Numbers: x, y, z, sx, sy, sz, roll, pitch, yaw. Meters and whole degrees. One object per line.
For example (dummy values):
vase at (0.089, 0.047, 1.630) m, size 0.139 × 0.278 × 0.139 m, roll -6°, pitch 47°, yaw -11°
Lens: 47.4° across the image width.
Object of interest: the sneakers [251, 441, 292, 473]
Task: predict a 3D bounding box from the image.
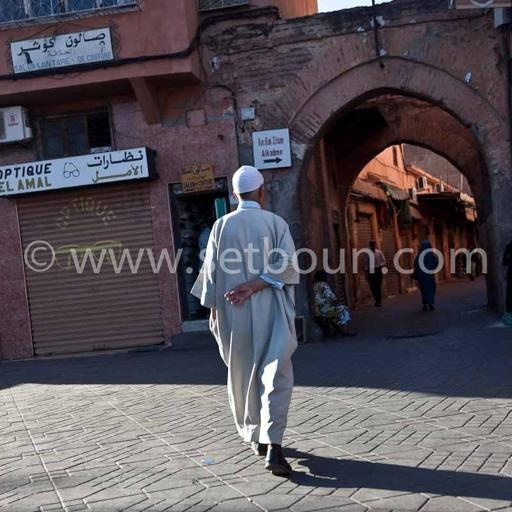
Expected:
sneakers at (0.104, 1.161, 3.313) m, size 0.105 × 0.123 × 0.274 m, roll -2°, pitch -14°, yaw 11°

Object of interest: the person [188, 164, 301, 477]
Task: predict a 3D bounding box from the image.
person at (0.032, 0.302, 3.559) m, size 0.579 × 1.617 × 0.825 m, roll -5°, pitch 2°, yaw -22°

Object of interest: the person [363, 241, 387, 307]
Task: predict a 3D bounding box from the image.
person at (3.532, 0.524, 17.232) m, size 0.568 × 1.471 × 2.049 m, roll -4°, pitch 2°, yaw 11°

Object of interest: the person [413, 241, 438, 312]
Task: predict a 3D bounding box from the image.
person at (4.130, 0.487, 14.192) m, size 0.571 × 1.228 × 1.527 m, roll -4°, pitch 2°, yaw 16°

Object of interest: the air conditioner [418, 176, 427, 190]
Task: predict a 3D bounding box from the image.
air conditioner at (8.047, -3.539, 28.114) m, size 0.255 × 0.481 × 0.912 m, roll -3°, pitch 2°, yaw 29°

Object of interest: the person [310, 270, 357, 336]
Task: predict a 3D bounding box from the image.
person at (1.348, 0.826, 10.222) m, size 0.617 × 1.197 × 0.548 m, roll 1°, pitch -25°, yaw -7°
